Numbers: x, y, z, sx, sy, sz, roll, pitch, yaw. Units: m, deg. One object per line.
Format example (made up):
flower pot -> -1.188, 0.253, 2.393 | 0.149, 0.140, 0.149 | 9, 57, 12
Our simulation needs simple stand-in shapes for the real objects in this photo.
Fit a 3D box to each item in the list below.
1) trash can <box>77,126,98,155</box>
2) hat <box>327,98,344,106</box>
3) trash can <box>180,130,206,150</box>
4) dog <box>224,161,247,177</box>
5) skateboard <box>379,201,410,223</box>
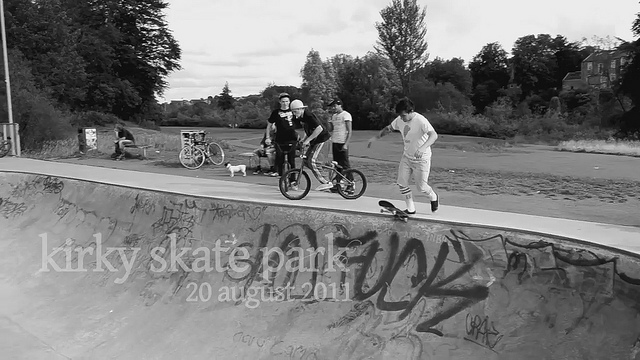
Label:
trash can -> -14.116, -2.341, 27.380 | 0.969, 1.507, 0.859 | -7, 15, -30
hat -> 0.564, -3.072, 17.969 | 0.513, 0.181, 0.347 | 6, 14, 13
trash can -> -6.780, -2.130, 24.017 | 1.489, 1.289, 0.743 | 1, 16, -2
dog -> -3.961, -0.493, 21.304 | 1.114, 0.533, 0.492 | 3, 1, -12
skateboard -> 2.600, 1.103, 15.938 | 0.194, 0.457, 1.369 | 20, 21, -50
